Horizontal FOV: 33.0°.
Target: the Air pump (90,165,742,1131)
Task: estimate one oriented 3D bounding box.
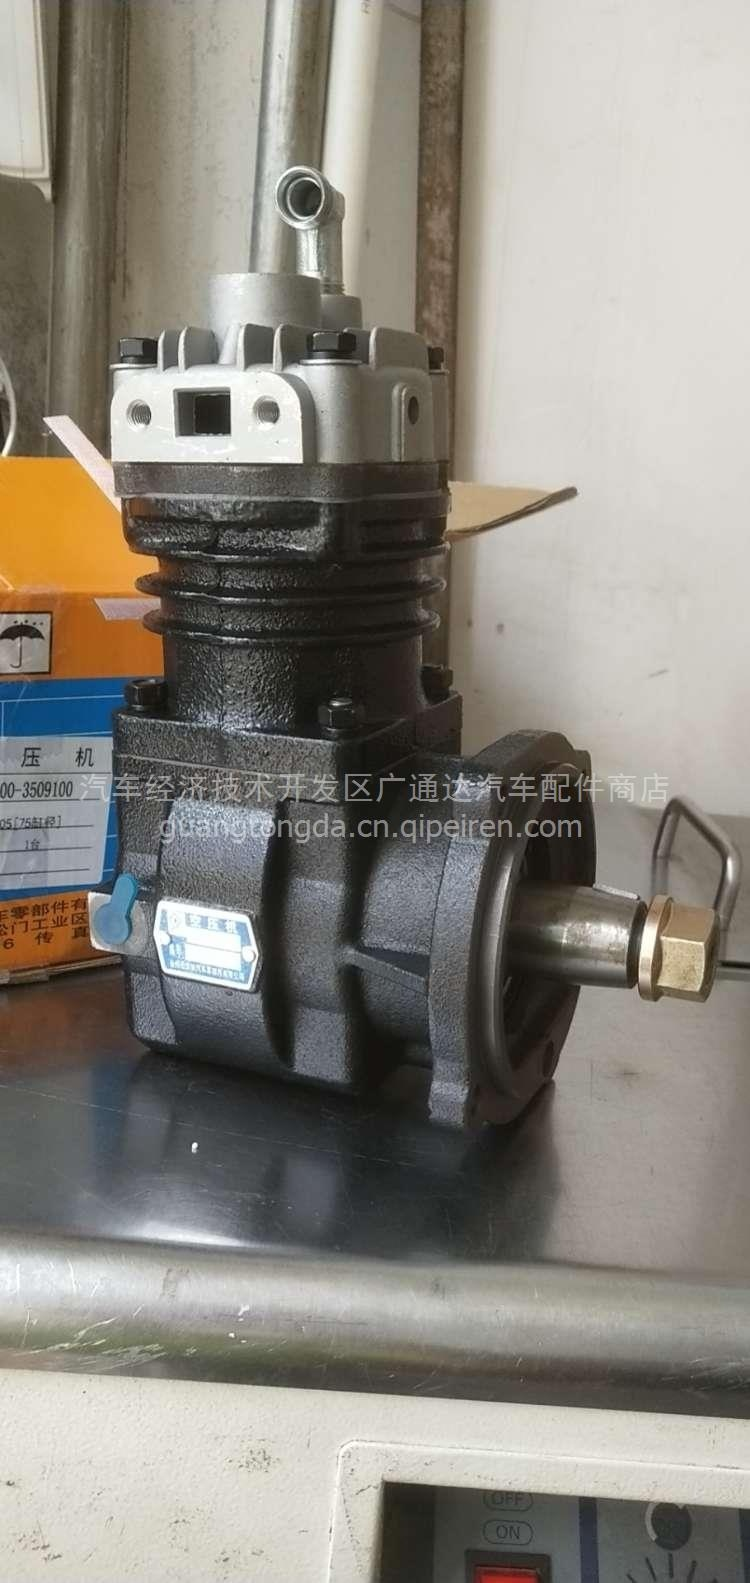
[{"bbox_3d":[-0.002,0.007,0.769,0.279,0.598,0.334,-3,9,-25],"label":"Air pump"}]
